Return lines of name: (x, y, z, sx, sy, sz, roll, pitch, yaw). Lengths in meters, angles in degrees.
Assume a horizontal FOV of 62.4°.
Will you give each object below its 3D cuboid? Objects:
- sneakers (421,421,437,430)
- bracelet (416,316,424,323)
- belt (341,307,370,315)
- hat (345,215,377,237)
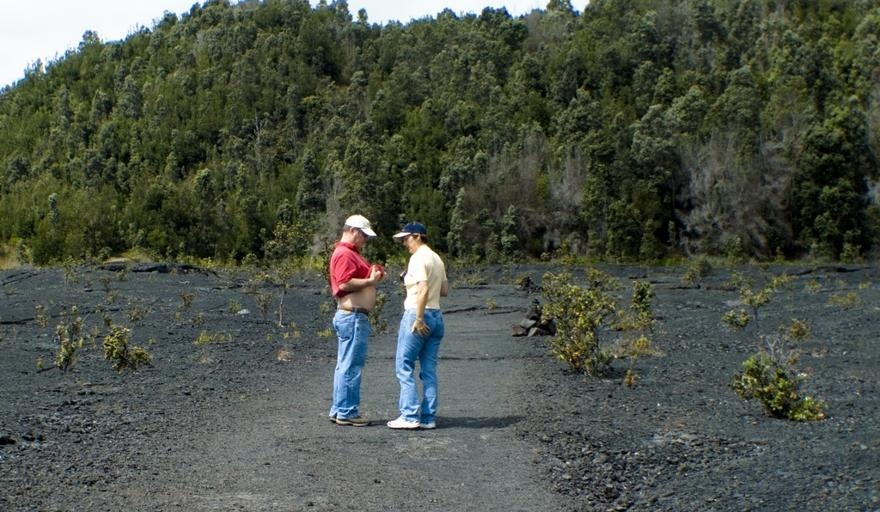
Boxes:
sneakers: (-0.291, 4.837, 20.564, 0.421, 0.201, 0.176, 2, -2, 26)
bracelet: (-0.512, 1.787, 20.388, 0.259, 0.121, 0.100, 3, -5, -43)
belt: (-2.373, 1.571, 20.560, 0.792, 0.196, 0.181, 1, -3, -15)
hat: (-2.240, -0.877, 20.907, 0.995, 0.643, 0.737, 13, 2, -11)
